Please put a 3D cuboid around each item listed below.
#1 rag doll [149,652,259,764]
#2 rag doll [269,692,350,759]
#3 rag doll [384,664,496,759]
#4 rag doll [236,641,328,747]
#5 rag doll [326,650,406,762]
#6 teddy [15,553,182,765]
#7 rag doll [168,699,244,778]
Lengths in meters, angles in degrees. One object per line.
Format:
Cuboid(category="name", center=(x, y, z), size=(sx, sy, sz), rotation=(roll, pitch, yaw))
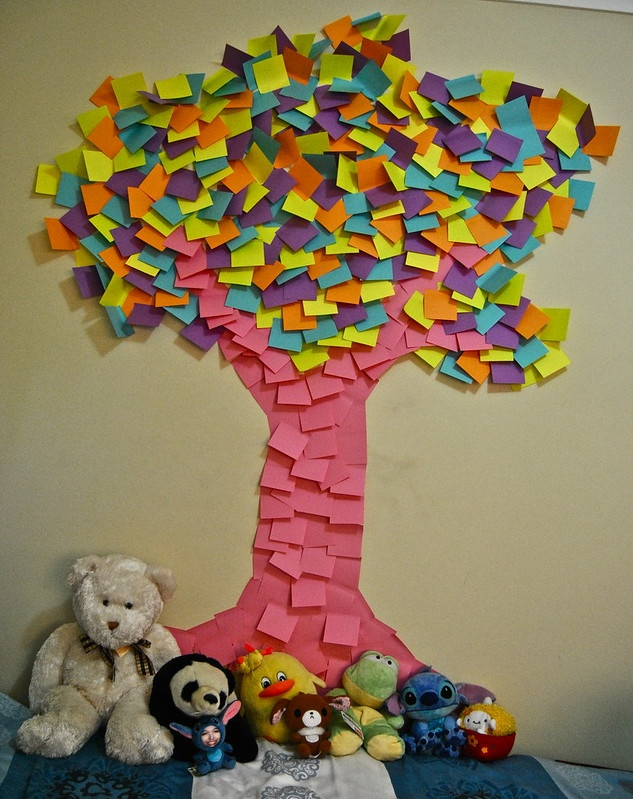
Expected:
Cuboid(category="rag doll", center=(-0.272, 0.675, 1.652), size=(0.215, 0.199, 0.169), rotation=(12, -13, -15))
Cuboid(category="rag doll", center=(-0.024, 0.719, 1.668), size=(0.203, 0.143, 0.099), rotation=(9, -20, -27))
Cuboid(category="rag doll", center=(0.293, 0.743, 1.807), size=(0.281, 0.182, 0.133), rotation=(4, -12, -13))
Cuboid(category="rag doll", center=(-0.085, 0.675, 1.708), size=(0.170, 0.143, 0.106), rotation=(-19, -17, -18))
Cuboid(category="rag doll", center=(0.119, 0.709, 1.766), size=(0.193, 0.210, 0.220), rotation=(17, -12, -9))
Cuboid(category="teddy", center=(-0.468, 0.586, 1.701), size=(0.420, 0.358, 0.358), rotation=(6, 10, 20))
Cuboid(category="rag doll", center=(-0.231, 0.730, 1.596), size=(0.162, 0.107, 0.087), rotation=(0, -8, -35))
